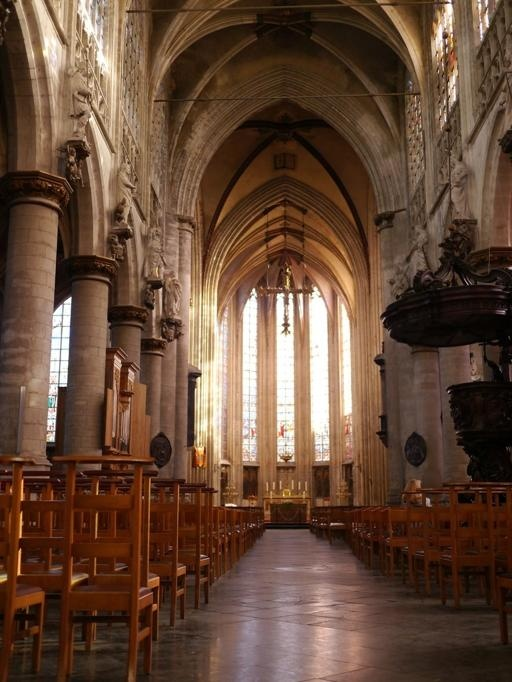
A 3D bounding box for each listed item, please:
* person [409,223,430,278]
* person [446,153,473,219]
[{"bbox_3d":[4.956,-2.716,19.807,0.441,0.364,1.516,16,-36,25],"label":"person"},{"bbox_3d":[4.695,-3.479,15.130,0.395,1.709,0.629,-3,-12,3],"label":"person"}]
